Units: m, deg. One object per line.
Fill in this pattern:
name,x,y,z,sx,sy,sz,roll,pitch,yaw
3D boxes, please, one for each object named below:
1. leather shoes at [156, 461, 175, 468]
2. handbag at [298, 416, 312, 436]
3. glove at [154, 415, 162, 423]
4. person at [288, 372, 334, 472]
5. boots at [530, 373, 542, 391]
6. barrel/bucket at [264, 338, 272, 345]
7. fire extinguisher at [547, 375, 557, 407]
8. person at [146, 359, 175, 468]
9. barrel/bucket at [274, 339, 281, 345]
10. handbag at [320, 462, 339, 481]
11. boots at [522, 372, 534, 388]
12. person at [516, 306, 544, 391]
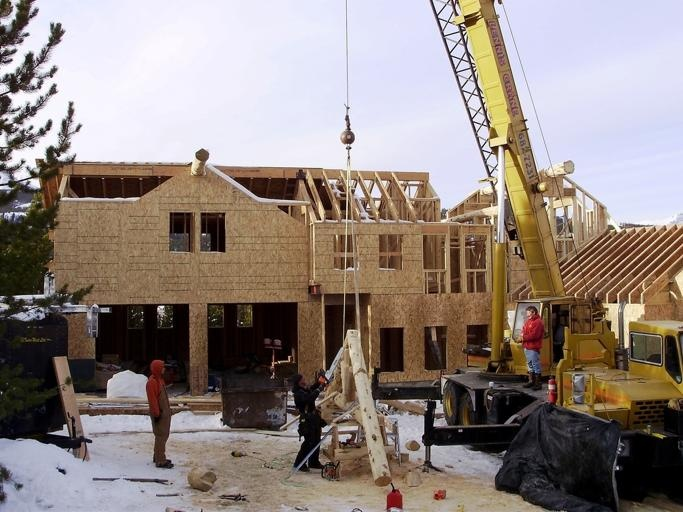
leather shoes,-3.098,3.682,13.291,0.304,0.161,0.121,1,-3,-13
handbag,-0.657,3.006,13.344,0.147,0.421,0.384,3,-9,-33
glove,-3.219,2.857,13.221,0.129,0.173,0.140,1,-3,8
person,-0.564,2.947,13.502,0.632,1.745,0.677,-1,-7,-4
boots,3.705,2.393,14.445,0.191,0.317,0.282,-3,-8,11
barrel/bucket,-2.690,3.107,27.506,0.195,0.315,0.215,1,-19,-5
fire extinguisher,3.626,2.325,13.051,0.164,0.442,0.573,-4,-8,15
person,-3.267,2.821,13.570,0.463,1.895,0.905,0,-8,-13
barrel/bucket,-2.291,3.100,27.085,0.280,0.314,0.212,2,-12,-10
handbag,-0.221,3.730,13.049,0.207,0.299,0.287,5,-14,-24
boots,3.603,2.428,14.691,0.146,0.363,0.344,-5,-12,32
person,3.645,1.745,14.512,0.411,1.575,0.337,-2,-7,1
